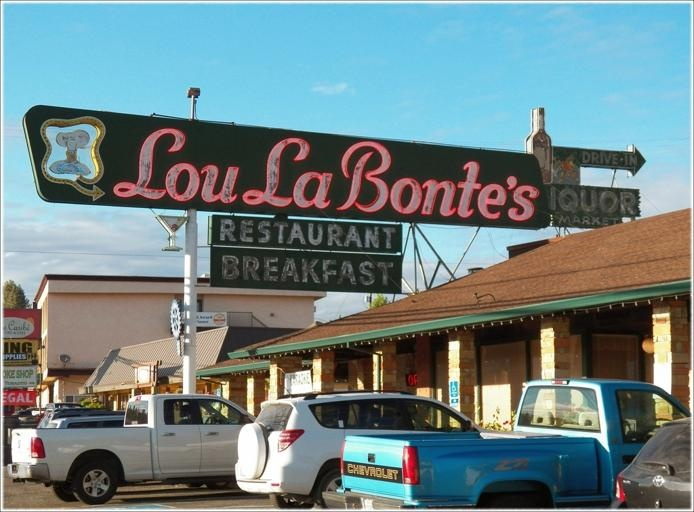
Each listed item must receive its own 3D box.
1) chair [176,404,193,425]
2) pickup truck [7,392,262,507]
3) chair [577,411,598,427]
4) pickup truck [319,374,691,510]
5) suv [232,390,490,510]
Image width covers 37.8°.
[{"bbox_3d":[-3.683,3.611,23.014,0.322,0.411,0.413,5,-19,-14],"label":"chair"},{"bbox_3d":[-4.790,4.334,23.100,5.400,1.847,2.422,0,-3,-24],"label":"pickup truck"},{"bbox_3d":[4.146,2.804,17.387,0.396,0.344,0.219,0,2,15],"label":"chair"},{"bbox_3d":[2.805,3.271,16.964,4.935,2.007,2.695,0,-6,-20],"label":"pickup truck"},{"bbox_3d":[0.289,3.730,19.501,4.601,1.745,2.081,-1,-3,-22],"label":"suv"}]
